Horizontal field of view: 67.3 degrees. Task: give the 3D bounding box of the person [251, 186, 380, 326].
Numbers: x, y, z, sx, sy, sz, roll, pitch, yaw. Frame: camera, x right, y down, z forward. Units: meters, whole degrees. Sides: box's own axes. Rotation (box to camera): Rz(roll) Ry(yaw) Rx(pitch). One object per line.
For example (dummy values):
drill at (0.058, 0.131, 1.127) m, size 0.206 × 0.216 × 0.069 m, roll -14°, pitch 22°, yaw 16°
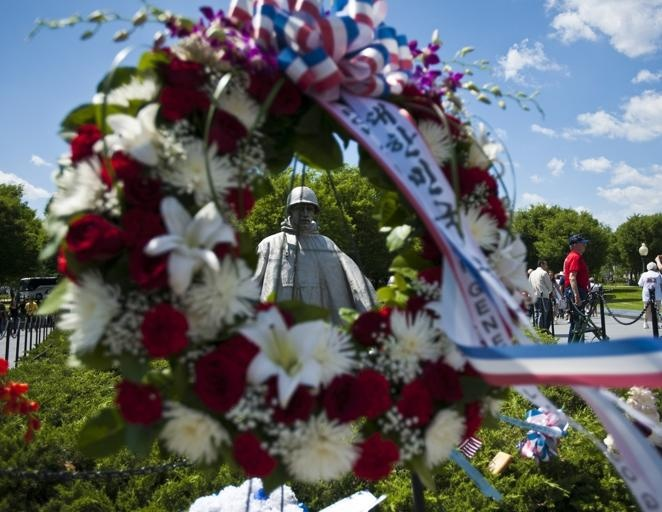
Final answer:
person at (-0.152, -0.037, 4.911) m, size 1.376 × 1.520 × 0.394 m, roll 7°, pitch -32°, yaw -18°
